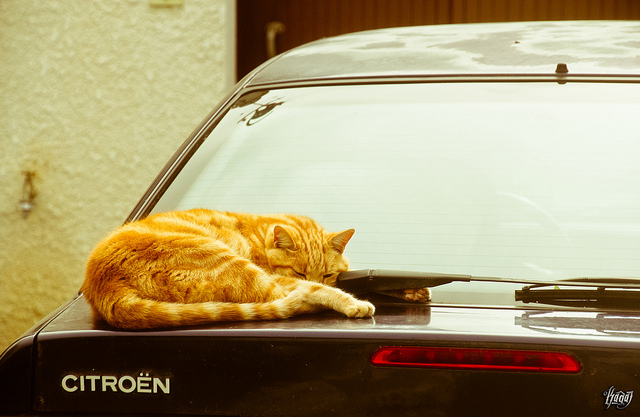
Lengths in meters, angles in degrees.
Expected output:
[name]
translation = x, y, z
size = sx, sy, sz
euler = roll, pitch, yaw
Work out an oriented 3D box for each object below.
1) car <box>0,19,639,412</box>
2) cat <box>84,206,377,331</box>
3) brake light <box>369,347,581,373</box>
[car]
translation = 0.426, -0.187, 3.179
size = 1.352, 1.053, 2.274
euler = 2, 16, 10
[cat]
translation = -0.358, 0.215, 2.723
size = 0.799, 0.517, 0.251
euler = 1, 86, -15
[brake light]
translation = 0.482, 0.462, 2.312
size = 0.642, 0.074, 0.052
euler = -1, 56, 8
